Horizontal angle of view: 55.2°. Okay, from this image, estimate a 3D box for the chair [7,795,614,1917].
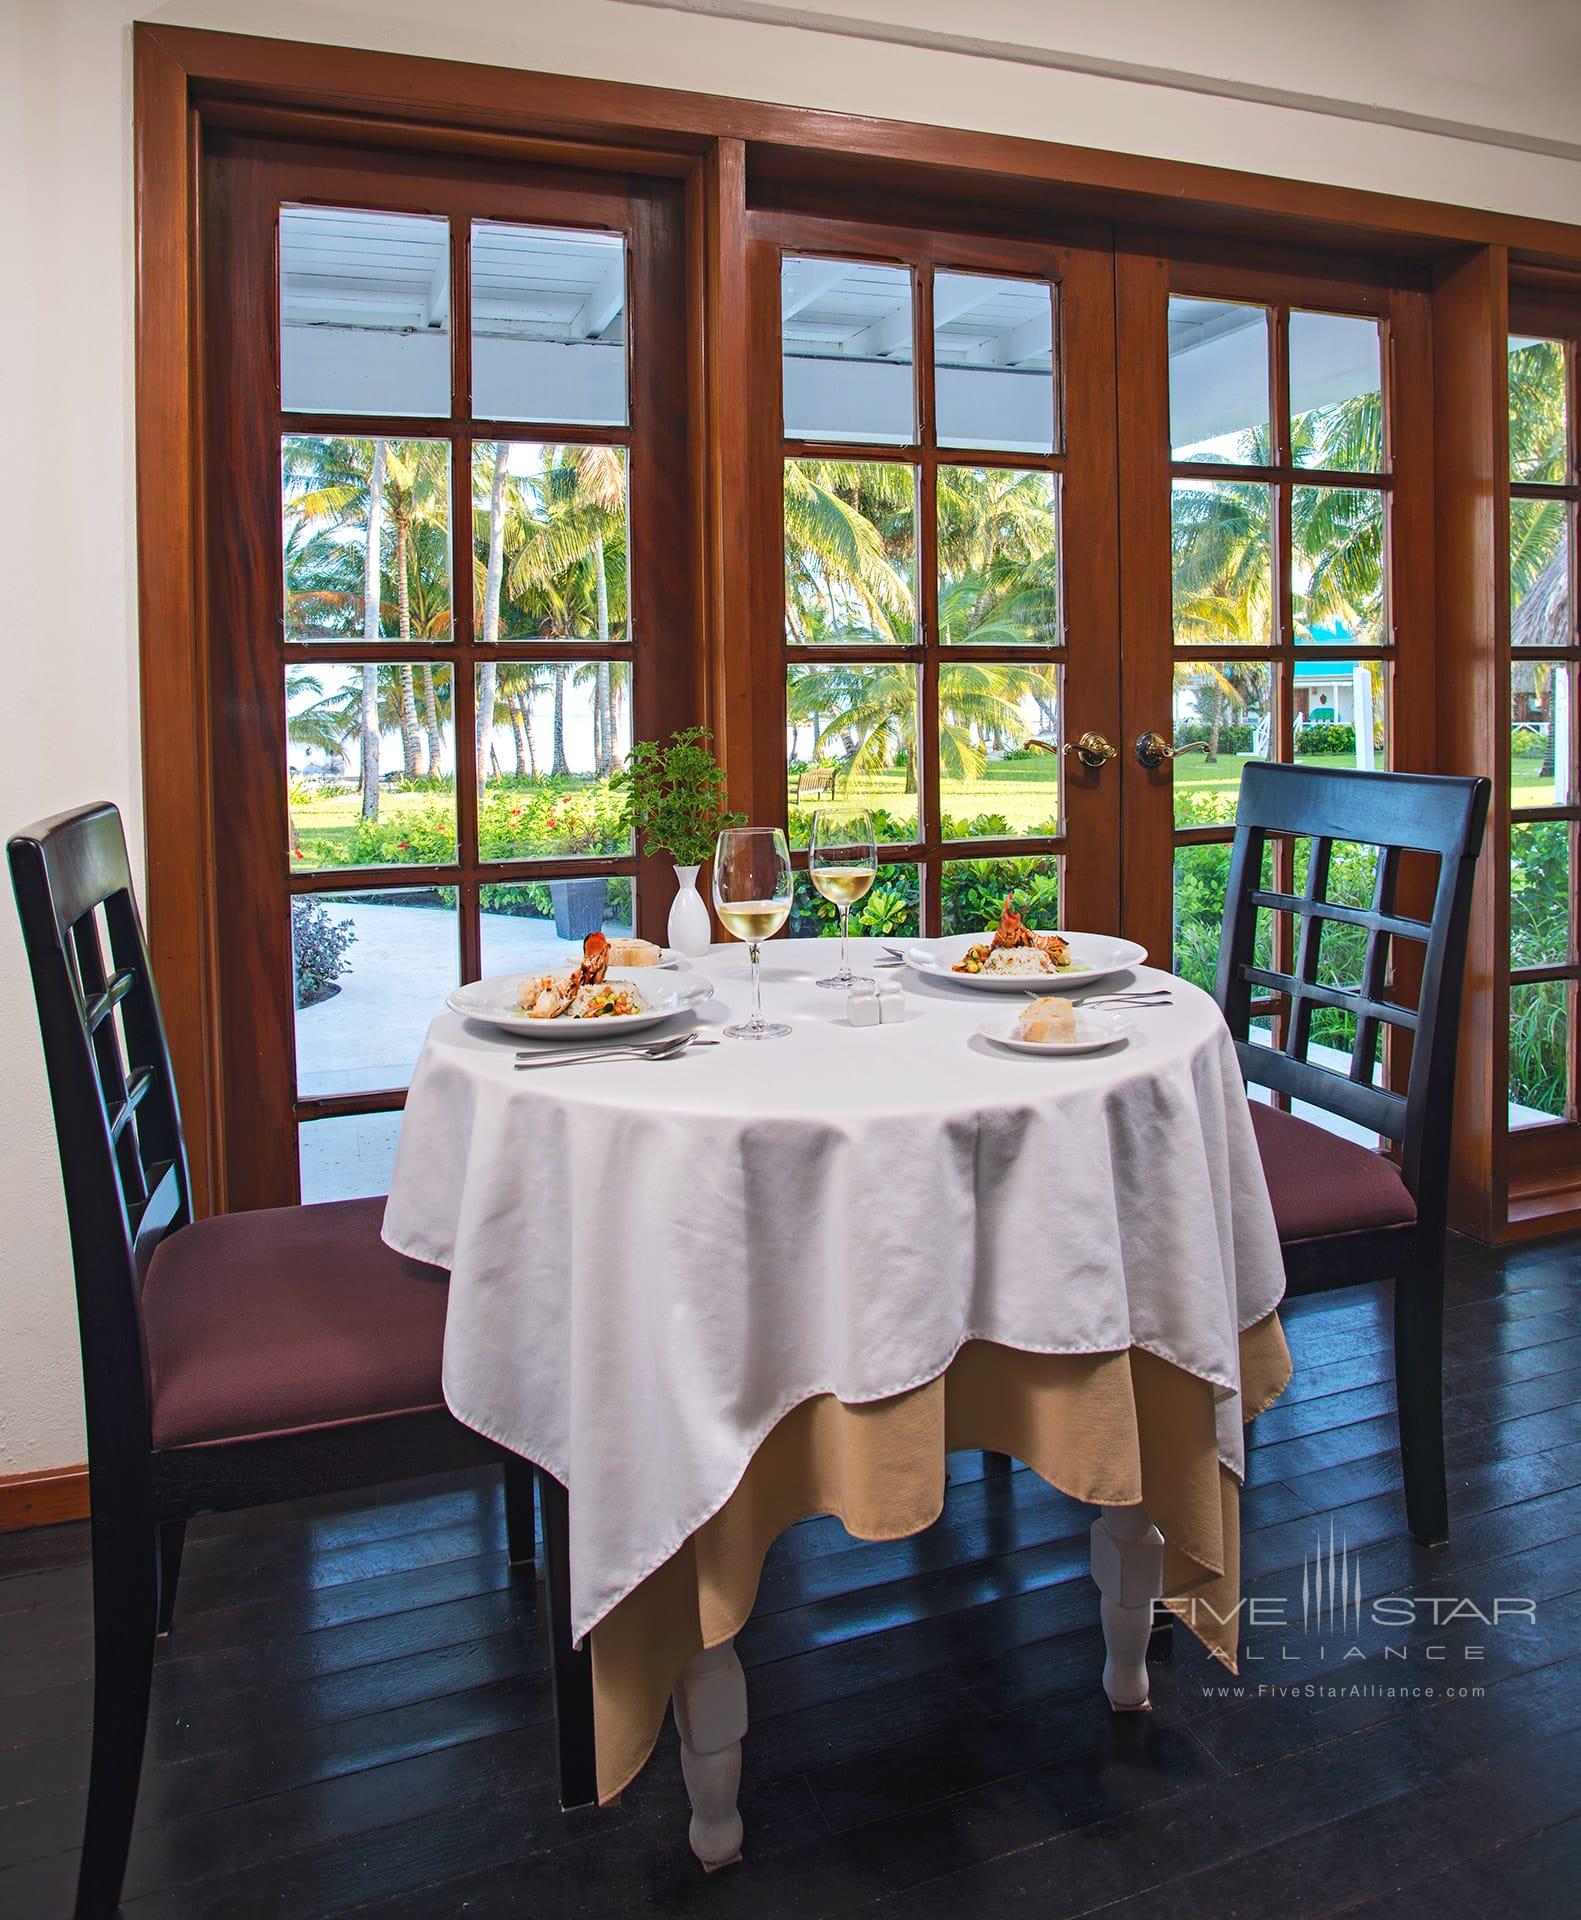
[{"bbox_3d":[-0.430,0.231,2.097,0.817,1.654,0.864,-5,13,-18],"label":"chair"}]

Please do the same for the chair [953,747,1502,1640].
[{"bbox_3d":[0.572,0.275,2.151,0.608,1.052,0.604,-8,11,-24],"label":"chair"}]

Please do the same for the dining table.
[{"bbox_3d":[0.073,0.406,1.652,0.886,0.731,0.856,-6,10,-44],"label":"dining table"}]
